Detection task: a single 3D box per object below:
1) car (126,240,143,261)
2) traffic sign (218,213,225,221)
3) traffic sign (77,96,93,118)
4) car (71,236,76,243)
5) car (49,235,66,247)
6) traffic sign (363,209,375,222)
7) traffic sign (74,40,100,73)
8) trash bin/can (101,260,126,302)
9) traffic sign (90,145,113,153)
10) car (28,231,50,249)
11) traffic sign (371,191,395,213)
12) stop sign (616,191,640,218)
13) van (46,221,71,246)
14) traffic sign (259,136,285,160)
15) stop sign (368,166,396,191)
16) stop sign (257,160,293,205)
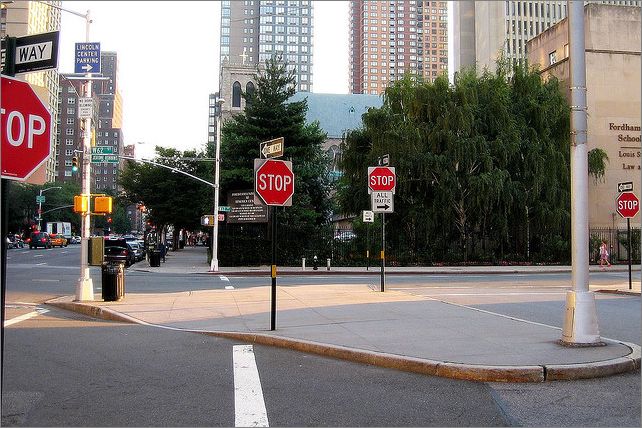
[{"bbox_3d":[-14.547,2.868,48.727,1.393,1.226,3.421,1,3,-5],"label":"car"},{"bbox_3d":[-5.934,0.169,37.202,0.512,0.583,0.542,1,2,-2],"label":"traffic sign"},{"bbox_3d":[-7.607,-3.491,20.326,0.390,0.704,0.866,0,0,-25],"label":"traffic sign"},{"bbox_3d":[-43.727,4.471,111.367,0.716,0.965,2.228,2,-5,-26],"label":"car"},{"bbox_3d":[-35.149,3.574,83.861,1.385,1.289,2.460,0,4,-2],"label":"car"},{"bbox_3d":[2.555,0.067,33.296,0.483,0.583,1.635,0,0,0],"label":"traffic sign"},{"bbox_3d":[-7.575,-5.111,20.426,0.899,1.121,0.471,0,0,21],"label":"traffic sign"},{"bbox_3d":[-6.363,2.080,19.209,0.626,1.183,0.632,0,0,-23],"label":"trash bin/can"},{"bbox_3d":[-7.530,-2.231,21.708,0.692,0.294,0.641,0,0,-19],"label":"traffic sign"},{"bbox_3d":[-34.127,3.235,75.918,1.520,1.566,2.808,-1,1,1],"label":"car"},{"bbox_3d":[2.208,-0.448,22.045,0.743,0.754,0.602,0,0,2],"label":"traffic sign"},{"bbox_3d":[11.837,-0.348,24.101,0.684,1.020,1.715,0,0,24],"label":"stop sign"},{"bbox_3d":[-38.577,2.748,92.230,2.758,4.046,6.182,-1,-7,-1],"label":"van"},{"bbox_3d":[-1.165,-1.603,15.062,0.479,0.545,0.985,0,0,-11],"label":"traffic sign"},{"bbox_3d":[2.162,-1.253,22.029,0.875,0.972,0.316,1,-1,-8],"label":"stop sign"},{"bbox_3d":[-1.094,-0.751,14.736,0.948,1.179,0.174,0,-2,-25],"label":"stop sign"}]
